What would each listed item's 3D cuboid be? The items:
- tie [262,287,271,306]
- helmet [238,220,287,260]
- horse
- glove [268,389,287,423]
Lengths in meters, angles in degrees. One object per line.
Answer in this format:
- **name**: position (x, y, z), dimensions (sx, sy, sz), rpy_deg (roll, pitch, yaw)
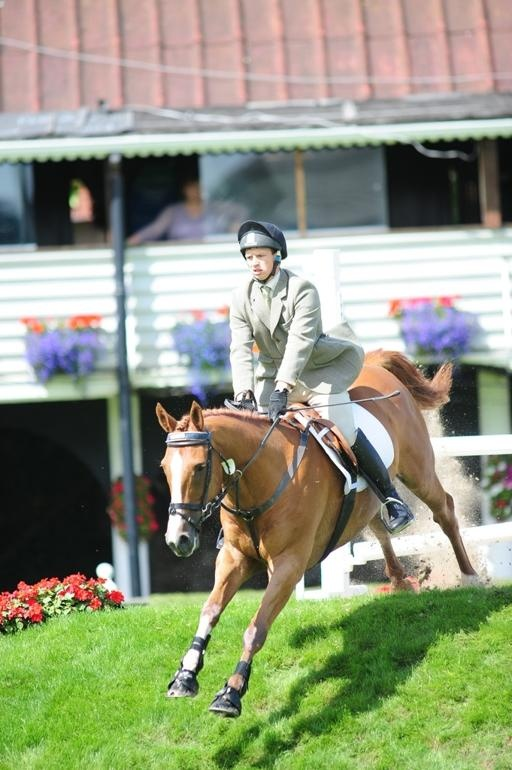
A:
- **tie**: position (0.085, -0.655, 10.370), dimensions (0.038, 0.182, 0.046), rpy_deg (-13, -1, 38)
- **helmet**: position (0.075, -1.061, 10.296), dimensions (0.221, 0.177, 0.334), rpy_deg (-5, -31, 23)
- **horse**: position (0.496, 0.962, 10.890), dimensions (1.144, 2.569, 4.079), rpy_deg (-9, -5, 40)
- **glove**: position (0.158, 0.157, 10.069), dimensions (0.118, 0.224, 0.068), rpy_deg (1, -15, 33)
